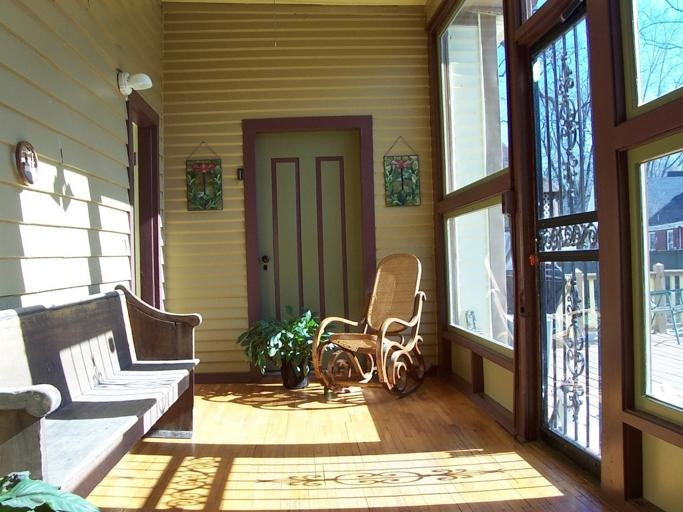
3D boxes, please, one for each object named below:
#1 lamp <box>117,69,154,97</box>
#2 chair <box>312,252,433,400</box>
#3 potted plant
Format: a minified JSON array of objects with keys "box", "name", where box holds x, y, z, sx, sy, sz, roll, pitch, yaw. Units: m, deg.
[{"box":[-1.656,-1.407,4.365,0.225,0.210,0.205,-1,10,4],"name":"lamp"},{"box":[0.293,0.598,4.784,0.807,1.303,0.965,-1,-3,23],"name":"chair"},{"box":[-0.552,0.835,4.917,0.676,0.503,0.741,-4,-10,13],"name":"potted plant"}]
